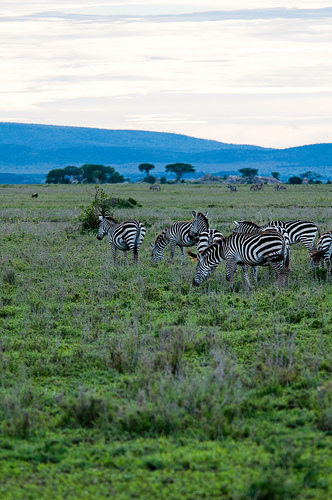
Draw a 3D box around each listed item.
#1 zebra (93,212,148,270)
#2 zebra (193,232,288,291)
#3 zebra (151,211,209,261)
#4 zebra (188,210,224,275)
[{"bbox_3d":[-1.002,-0.206,19.117,1.215,1.146,0.422,2,-2,39],"label":"zebra"},{"bbox_3d":[1.349,0.196,15.478,1.716,1.284,0.596,-5,12,14],"label":"zebra"},{"bbox_3d":[0.341,-0.161,19.286,1.516,1.185,0.338,-14,-6,-25],"label":"zebra"},{"bbox_3d":[0.864,-0.242,18.254,1.236,0.993,0.327,13,5,-40],"label":"zebra"}]
